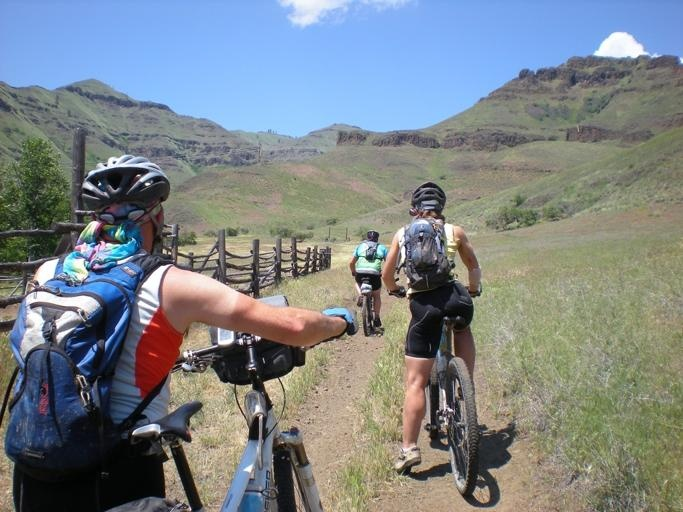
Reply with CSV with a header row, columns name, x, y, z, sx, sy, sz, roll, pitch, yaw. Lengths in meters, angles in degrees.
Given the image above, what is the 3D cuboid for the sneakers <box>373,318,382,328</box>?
name,x,y,z,sx,sy,sz,roll,pitch,yaw
sneakers,0.678,1.279,10.497,0.107,0.186,0.182,-2,-8,9

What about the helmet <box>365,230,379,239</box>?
name,x,y,z,sx,sy,sz,roll,pitch,yaw
helmet,0.591,-0.396,10.390,0.217,0.169,0.364,4,-5,11

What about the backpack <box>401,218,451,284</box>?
name,x,y,z,sx,sy,sz,roll,pitch,yaw
backpack,0.809,-0.030,5.263,0.459,0.652,0.421,-10,8,4

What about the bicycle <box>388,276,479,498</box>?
name,x,y,z,sx,sy,sz,roll,pitch,yaw
bicycle,0.996,1.339,5.206,0.494,1.553,1.207,-10,8,5

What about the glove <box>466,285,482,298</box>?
name,x,y,z,sx,sy,sz,roll,pitch,yaw
glove,1.382,0.391,5.738,0.100,0.125,0.288,-10,-25,14

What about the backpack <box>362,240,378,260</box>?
name,x,y,z,sx,sy,sz,roll,pitch,yaw
backpack,0.543,-0.096,10.274,0.327,0.482,0.268,2,-7,4

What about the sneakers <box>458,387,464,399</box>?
name,x,y,z,sx,sy,sz,roll,pitch,yaw
sneakers,1.079,1.251,4.992,0.042,0.120,0.087,-9,-45,6

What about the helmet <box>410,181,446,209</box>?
name,x,y,z,sx,sy,sz,roll,pitch,yaw
helmet,0.886,-0.588,5.599,0.251,0.352,0.205,0,3,7

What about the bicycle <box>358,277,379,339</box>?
name,x,y,z,sx,sy,sz,roll,pitch,yaw
bicycle,0.470,0.979,10.250,0.300,1.051,0.578,-9,8,9
